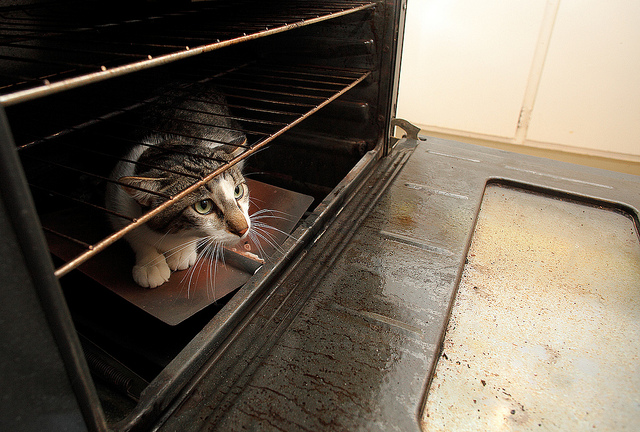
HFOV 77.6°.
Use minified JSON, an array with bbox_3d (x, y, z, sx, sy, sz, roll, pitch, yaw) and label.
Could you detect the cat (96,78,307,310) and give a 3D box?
[{"bbox_3d":[-0.450,-0.090,1.282,0.564,0.314,0.781,-20,64,-40],"label":"cat"}]
